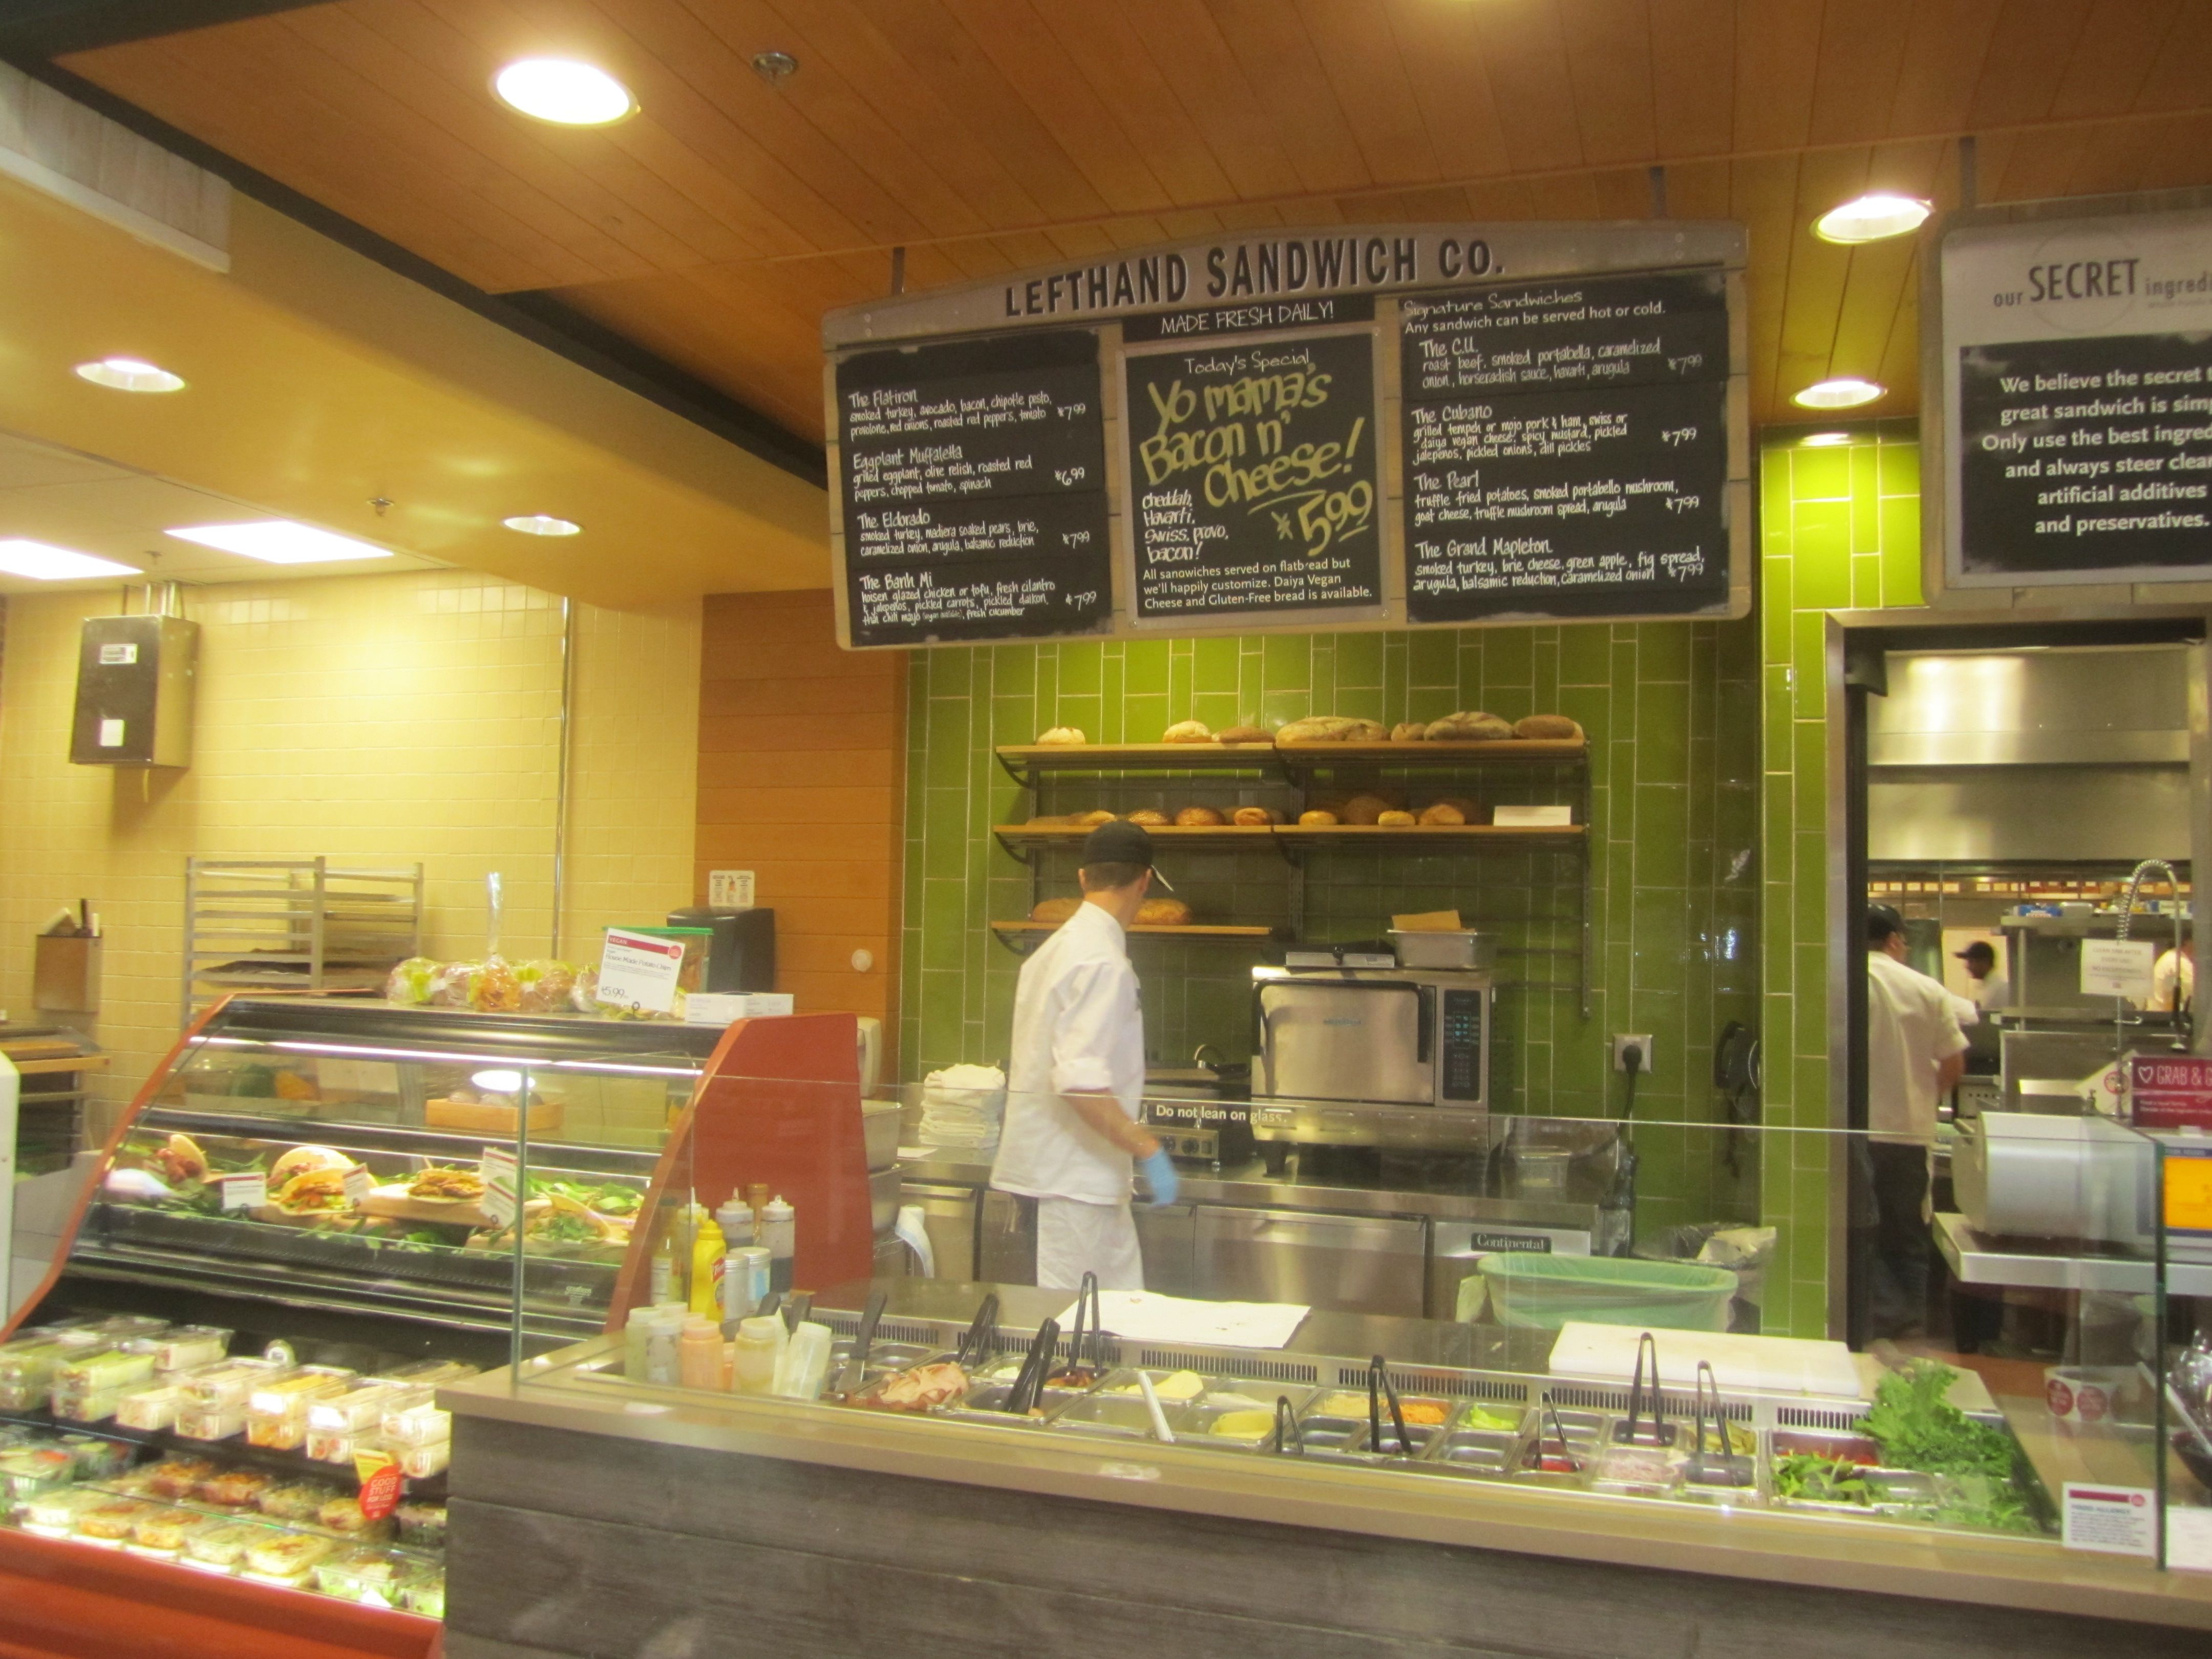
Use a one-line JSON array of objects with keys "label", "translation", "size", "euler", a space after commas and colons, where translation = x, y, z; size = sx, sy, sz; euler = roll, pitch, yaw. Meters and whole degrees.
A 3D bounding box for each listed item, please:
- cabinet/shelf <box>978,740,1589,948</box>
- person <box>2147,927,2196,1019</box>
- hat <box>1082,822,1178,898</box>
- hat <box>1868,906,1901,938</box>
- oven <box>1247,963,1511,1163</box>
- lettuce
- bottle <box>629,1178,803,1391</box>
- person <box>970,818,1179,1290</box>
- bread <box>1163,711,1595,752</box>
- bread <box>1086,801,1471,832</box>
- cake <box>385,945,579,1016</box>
[{"label": "cabinet/shelf", "translation": [0.607, 0.031, 6.212], "size": [1.976, 0.688, 0.385], "euler": [0, 1, 19]}, {"label": "person", "translation": [3.212, 0.437, 5.646], "size": [0.113, 0.268, 1.111], "euler": [-1, -4, 29]}, {"label": "hat", "translation": [0.063, 0.078, 5.105], "size": [0.228, 0.267, 0.275], "euler": [3, 19, 15]}, {"label": "hat", "translation": [2.518, 0.309, 6.063], "size": [0.102, 0.120, 0.124], "euler": [3, 10, 15]}, {"label": "oven", "translation": [0.798, 0.684, 5.605], "size": [0.589, 0.448, 0.595], "euler": [-1, -6, 17]}, {"label": "lettuce", "translation": [1.249, 0.976, 2.898], "size": [0.287, 0.088, 0.210], "euler": [0, 6, 10]}, {"label": "bottle", "translation": [-0.721, 0.848, 3.427], "size": [0.290, 0.309, 0.289], "euler": [2, -4, -9]}, {"label": "person", "translation": [-0.057, 0.488, 4.284], "size": [0.422, 1.042, 1.011], "euler": [2, -4, -1]}, {"label": "bread", "translation": [0.865, -0.312, 6.025], "size": [1.327, 0.126, 0.266], "euler": [0, -4, 18]}, {"label": "bread", "translation": [0.568, -0.041, 6.181], "size": [1.277, 0.102, 0.353], "euler": [1, -3, 15]}, {"label": "cake", "translation": [-1.454, 0.375, 4.407], "size": [0.305, 0.090, 0.197], "euler": [0, -1, 5]}]
